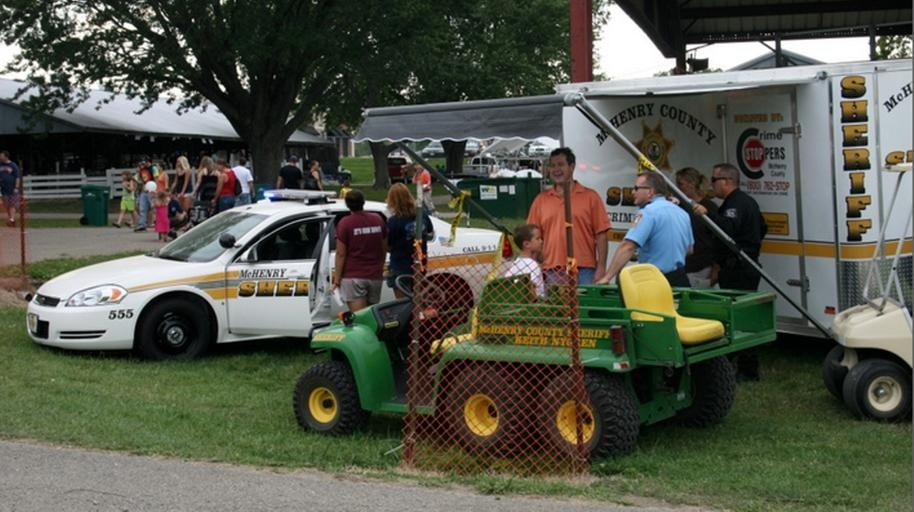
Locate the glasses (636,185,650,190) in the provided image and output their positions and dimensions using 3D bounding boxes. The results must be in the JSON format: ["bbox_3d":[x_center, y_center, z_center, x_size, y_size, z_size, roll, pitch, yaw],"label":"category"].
[{"bbox_3d":[2.569,-0.945,11.815,0.182,0.040,0.055,-2,1,12],"label":"glasses"}]

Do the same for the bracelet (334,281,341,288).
[{"bbox_3d":[-1.878,0.441,13.353,0.094,0.069,0.125,0,-4,-13],"label":"bracelet"}]

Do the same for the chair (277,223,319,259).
[{"bbox_3d":[-2.658,-0.252,14.404,0.668,0.699,0.542,0,3,-5],"label":"chair"}]

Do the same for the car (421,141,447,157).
[{"bbox_3d":[-2.112,-9.640,76.769,1.472,1.190,9.537,-2,1,1],"label":"car"}]

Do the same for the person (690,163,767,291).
[{"bbox_3d":[4.163,-0.445,12.709,0.786,1.347,0.917,-2,1,20],"label":"person"}]

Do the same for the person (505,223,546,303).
[{"bbox_3d":[0.882,0.120,11.206,0.432,0.799,0.852,-13,18,-31],"label":"person"}]

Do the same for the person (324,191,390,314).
[{"bbox_3d":[-1.536,-0.101,13.348,0.851,1.694,0.449,-2,1,-10],"label":"person"}]

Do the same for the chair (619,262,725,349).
[{"bbox_3d":[2.634,0.589,10.722,0.866,0.856,1.223,-2,3,-35],"label":"chair"}]
